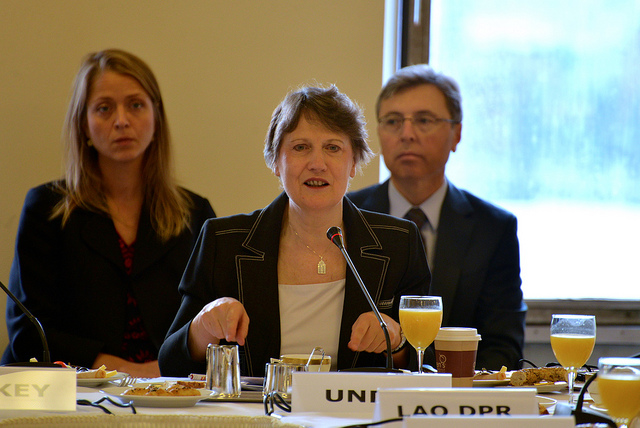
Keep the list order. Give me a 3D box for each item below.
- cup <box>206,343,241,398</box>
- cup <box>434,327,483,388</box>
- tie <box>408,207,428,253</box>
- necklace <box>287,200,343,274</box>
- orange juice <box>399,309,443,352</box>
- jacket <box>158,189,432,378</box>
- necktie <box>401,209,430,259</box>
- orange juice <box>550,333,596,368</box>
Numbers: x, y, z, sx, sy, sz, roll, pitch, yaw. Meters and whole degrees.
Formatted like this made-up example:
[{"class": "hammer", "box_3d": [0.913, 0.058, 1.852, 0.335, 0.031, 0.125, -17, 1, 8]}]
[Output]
[{"class": "cup", "box_3d": [-0.303, 0.535, 2.169, 0.112, 0.174, 0.158, 3, 2, 19]}, {"class": "cup", "box_3d": [0.455, 0.480, 2.131, 0.170, 0.177, 0.178, 1, -7, 0]}, {"class": "tie", "box_3d": [0.523, 0.067, 3.378, 0.125, 0.182, 0.051, -3, -7, -2]}, {"class": "necklace", "box_3d": [-0.021, 0.105, 2.671, 0.288, 0.398, 0.015, 2, -15, -6]}, {"class": "orange juice", "box_3d": [0.335, 0.392, 2.146, 0.130, 0.219, 0.143, 0, -5, -1]}, {"class": "jacket", "box_3d": [-0.085, 0.397, 2.738, 1.161, 0.995, 0.669, 1, 11, -7]}, {"class": "necktie", "box_3d": [0.507, 0.110, 3.414, 0.119, 0.240, 0.125, 1, 8, 0]}, {"class": "orange juice", "box_3d": [0.860, 0.470, 2.166, 0.130, 0.113, 0.131, -9, -19, 27]}]
